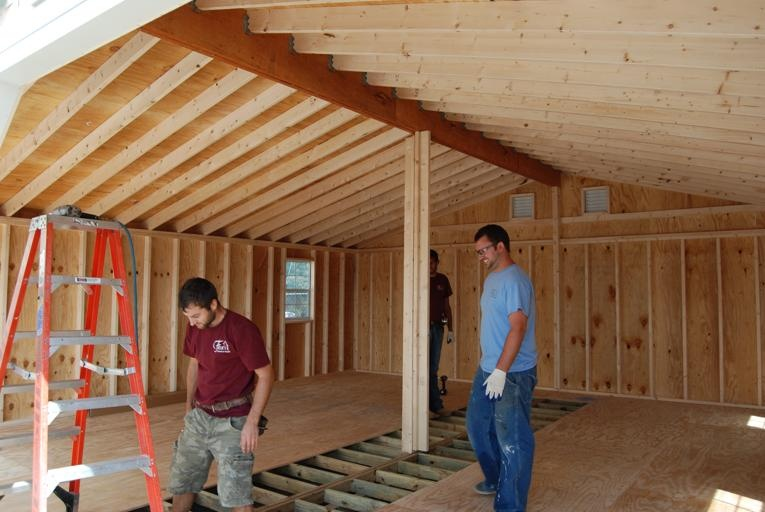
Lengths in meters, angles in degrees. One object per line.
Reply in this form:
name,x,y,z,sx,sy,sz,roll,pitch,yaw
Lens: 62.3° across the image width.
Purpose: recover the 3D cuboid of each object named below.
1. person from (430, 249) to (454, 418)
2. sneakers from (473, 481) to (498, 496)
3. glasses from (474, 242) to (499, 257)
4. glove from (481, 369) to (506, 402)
person,0.715,0.906,7.762,0.272,1.922,0.895,0,0,6
sneakers,0.834,1.876,5.126,0.162,0.066,0.083,3,-2,23
glasses,0.846,-0.053,4.961,0.108,0.031,0.104,-18,-6,-35
glove,0.831,0.963,4.703,0.184,0.216,0.062,25,14,35
